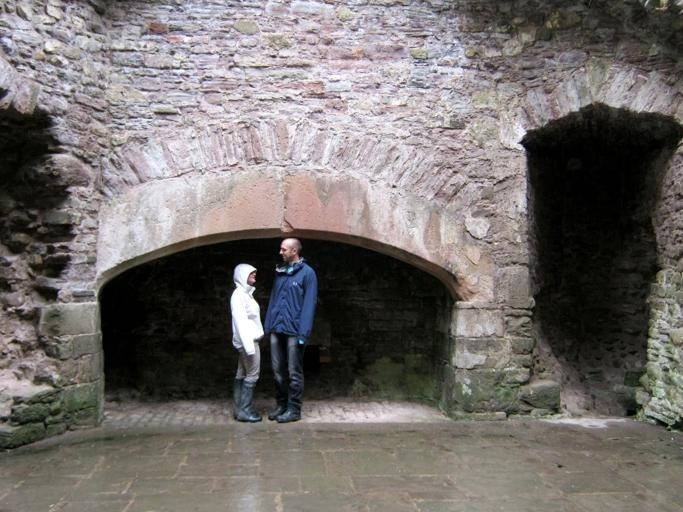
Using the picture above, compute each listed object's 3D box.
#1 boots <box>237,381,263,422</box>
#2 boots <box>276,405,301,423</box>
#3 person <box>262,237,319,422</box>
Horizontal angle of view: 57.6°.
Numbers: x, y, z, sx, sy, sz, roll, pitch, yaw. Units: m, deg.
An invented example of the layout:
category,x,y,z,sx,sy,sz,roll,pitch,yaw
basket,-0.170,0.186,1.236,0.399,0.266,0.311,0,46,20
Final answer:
category,x,y,z,sx,sy,sz,roll,pitch,yaw
boots,-0.831,1.304,5.484,0.228,0.364,0.180,-1,10,-9
boots,-0.463,1.424,5.480,0.263,0.100,0.092,10,-14,-38
person,-0.465,0.668,5.510,0.414,1.603,0.422,-2,11,-14
